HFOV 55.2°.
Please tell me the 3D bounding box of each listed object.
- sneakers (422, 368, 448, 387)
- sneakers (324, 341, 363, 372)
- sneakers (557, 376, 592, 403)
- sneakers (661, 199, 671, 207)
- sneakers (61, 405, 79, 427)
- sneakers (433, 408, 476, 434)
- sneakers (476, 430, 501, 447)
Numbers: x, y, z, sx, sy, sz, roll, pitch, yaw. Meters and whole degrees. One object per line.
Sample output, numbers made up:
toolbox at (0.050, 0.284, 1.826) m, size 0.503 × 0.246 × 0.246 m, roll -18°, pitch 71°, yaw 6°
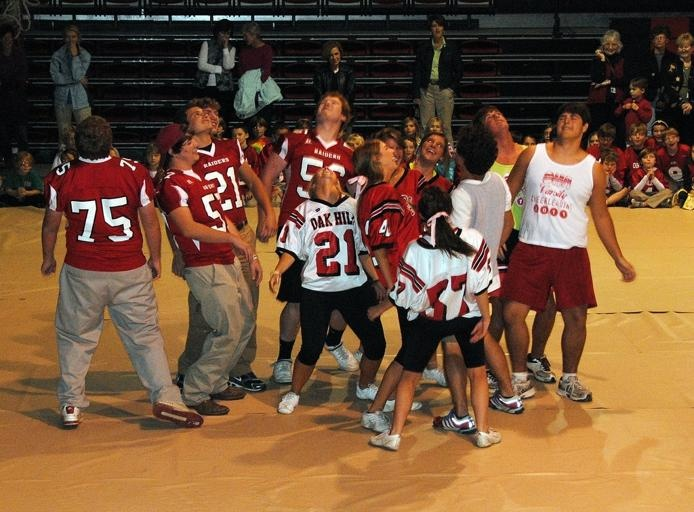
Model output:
sneakers at (0.745, 1.006, 5.558) m, size 0.262 × 0.119 × 0.095 m, roll 11°, pitch 7°, yaw 36°
sneakers at (-0.019, 0.891, 5.909) m, size 0.362 × 0.162 × 0.164 m, roll 38°, pitch 31°, yaw -4°
sneakers at (1.770, 1.024, 5.183) m, size 0.142 × 0.141 × 0.268 m, roll -1°, pitch 5°, yaw -38°
sneakers at (4.952, -0.800, 10.235) m, size 0.148 × 0.126 × 0.111 m, roll -2°, pitch 5°, yaw -20°
sneakers at (-1.981, 1.145, 4.749) m, size 0.085 × 0.091 × 0.196 m, roll -4°, pitch 21°, yaw -16°
sneakers at (0.785, 1.174, 4.807) m, size 0.284 × 0.150 × 0.134 m, roll 6°, pitch -3°, yaw 13°
sneakers at (0.966, 1.239, 4.527) m, size 0.084 × 0.083 × 0.183 m, roll 5°, pitch 12°, yaw 40°
